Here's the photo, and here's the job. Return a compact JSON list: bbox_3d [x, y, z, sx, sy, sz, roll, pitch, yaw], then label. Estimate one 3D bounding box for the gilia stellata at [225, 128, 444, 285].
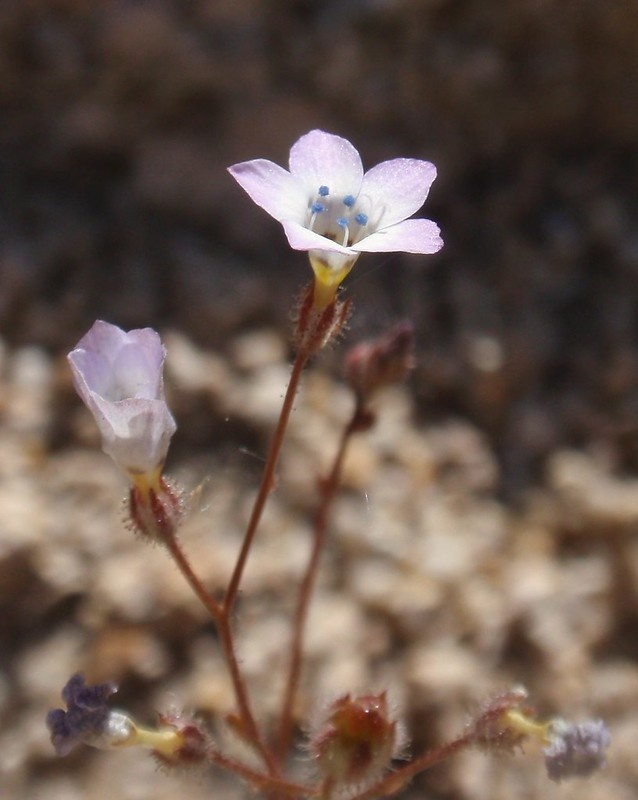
[{"bbox_3d":[0.010,-0.202,1.106,0.238,0.206,0.125,1,-42,-11],"label":"gilia stellata"}]
